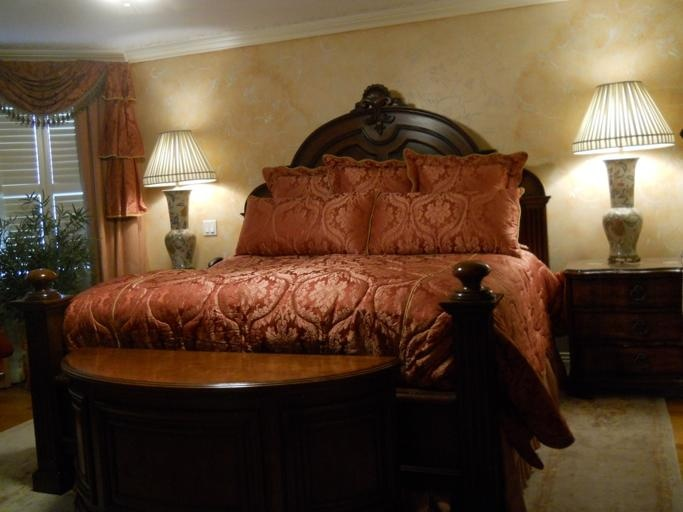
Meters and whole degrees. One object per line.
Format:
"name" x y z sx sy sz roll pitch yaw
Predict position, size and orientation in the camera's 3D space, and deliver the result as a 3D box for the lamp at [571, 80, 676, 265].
"lamp" 1.818 -0.550 3.648 0.572 1.110 0.485 -11 14 -28
